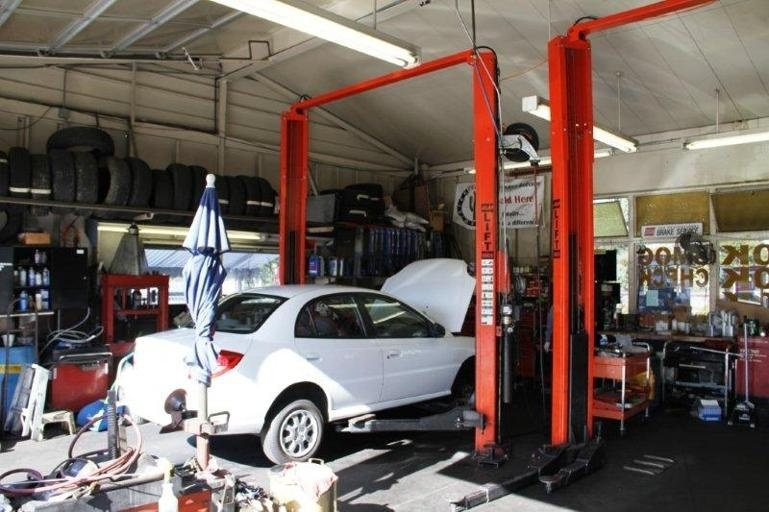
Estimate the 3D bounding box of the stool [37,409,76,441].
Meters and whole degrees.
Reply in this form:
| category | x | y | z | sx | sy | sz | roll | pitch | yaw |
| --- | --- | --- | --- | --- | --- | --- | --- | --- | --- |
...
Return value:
| category | x | y | z | sx | sy | sz | roll | pitch | yaw |
| --- | --- | --- | --- | --- | --- | --- | --- | --- | --- |
| stool | -4.637 | 2.406 | 9.509 | 0.391 | 0.292 | 0.380 | 6 | -9 | -37 |

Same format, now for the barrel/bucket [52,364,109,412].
| category | x | y | z | sx | sy | sz | roll | pitch | yaw |
| --- | --- | --- | --- | --- | --- | --- | --- | --- | --- |
| barrel/bucket | -4.659 | 1.877 | 10.172 | 0.883 | 0.884 | 0.520 | 3 | 5 | -36 |

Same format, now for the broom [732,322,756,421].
| category | x | y | z | sx | sy | sz | roll | pitch | yaw |
| --- | --- | --- | --- | --- | --- | --- | --- | --- | --- |
| broom | 5.599 | 1.836 | 10.427 | 0.352 | 1.568 | 0.506 | 0 | -1 | 31 |

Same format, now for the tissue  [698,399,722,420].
| category | x | y | z | sx | sy | sz | roll | pitch | yaw |
| --- | --- | --- | --- | --- | --- | --- | --- | --- | --- |
| tissue  | 5.159 | 2.432 | 10.628 | 0.304 | 0.314 | 0.302 | 1 | -1 | 16 |

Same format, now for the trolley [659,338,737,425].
| category | x | y | z | sx | sy | sz | roll | pitch | yaw |
| --- | --- | --- | --- | --- | --- | --- | --- | --- | --- |
| trolley | 5.294 | 2.078 | 11.412 | 1.000 | 1.218 | 0.799 | 3 | -5 | 33 |

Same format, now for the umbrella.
| category | x | y | z | sx | sy | sz | roll | pitch | yaw |
| --- | --- | --- | --- | --- | --- | --- | --- | --- | --- |
| umbrella | -1.978 | 0.775 | 7.524 | 0.486 | 3.353 | 0.945 | -2 | 10 | -16 |
